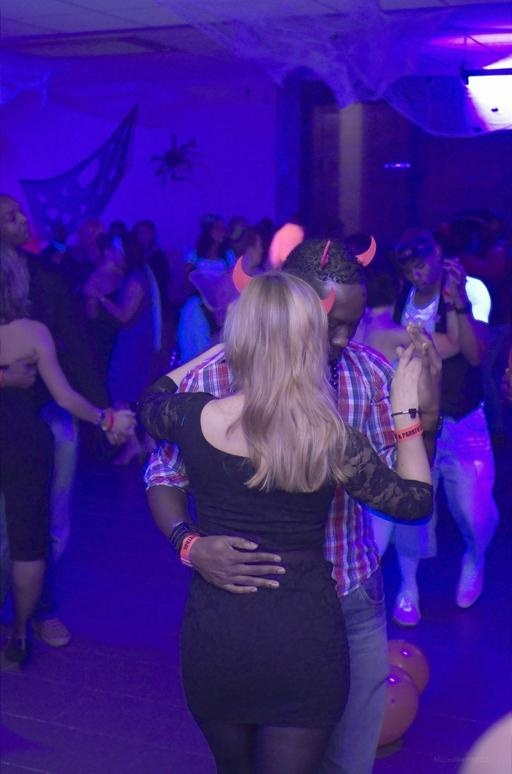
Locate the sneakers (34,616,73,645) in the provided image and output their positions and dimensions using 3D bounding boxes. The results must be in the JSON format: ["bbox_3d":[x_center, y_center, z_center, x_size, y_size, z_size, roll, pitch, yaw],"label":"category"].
[{"bbox_3d":[-0.687,0.822,2.153,0.123,0.073,0.042,33,0,14],"label":"sneakers"}]

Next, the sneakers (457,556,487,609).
[{"bbox_3d":[0.596,0.550,1.751,0.055,0.153,0.105,11,-7,28],"label":"sneakers"}]

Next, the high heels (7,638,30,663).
[{"bbox_3d":[-0.796,0.890,2.112,0.076,0.095,0.055,0,-13,7],"label":"high heels"}]
